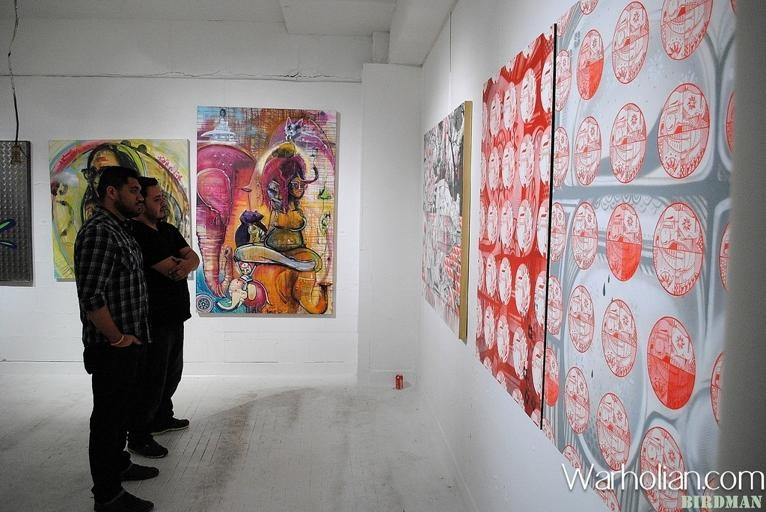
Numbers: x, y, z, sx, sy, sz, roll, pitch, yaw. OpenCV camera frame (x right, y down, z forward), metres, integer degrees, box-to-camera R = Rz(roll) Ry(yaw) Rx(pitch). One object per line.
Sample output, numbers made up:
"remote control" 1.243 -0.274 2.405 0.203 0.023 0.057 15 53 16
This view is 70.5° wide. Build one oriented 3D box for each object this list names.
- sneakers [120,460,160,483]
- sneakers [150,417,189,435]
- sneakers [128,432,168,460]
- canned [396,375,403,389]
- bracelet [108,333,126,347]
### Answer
"sneakers" -1.403 1.249 3.166 0.223 0.095 0.079 1 6 -13
"sneakers" -1.431 1.125 3.658 0.082 0.105 0.238 5 4 42
"sneakers" -1.451 1.165 3.385 0.272 0.118 0.117 12 11 1
"canned" 0.142 1.036 4.510 0.070 0.091 0.154 1 9 1
"bracelet" -1.359 0.438 2.792 0.054 0.065 0.029 -4 -21 -22
